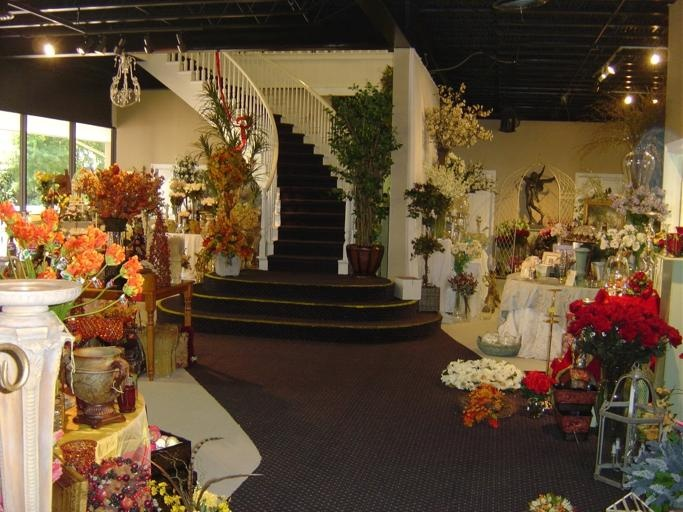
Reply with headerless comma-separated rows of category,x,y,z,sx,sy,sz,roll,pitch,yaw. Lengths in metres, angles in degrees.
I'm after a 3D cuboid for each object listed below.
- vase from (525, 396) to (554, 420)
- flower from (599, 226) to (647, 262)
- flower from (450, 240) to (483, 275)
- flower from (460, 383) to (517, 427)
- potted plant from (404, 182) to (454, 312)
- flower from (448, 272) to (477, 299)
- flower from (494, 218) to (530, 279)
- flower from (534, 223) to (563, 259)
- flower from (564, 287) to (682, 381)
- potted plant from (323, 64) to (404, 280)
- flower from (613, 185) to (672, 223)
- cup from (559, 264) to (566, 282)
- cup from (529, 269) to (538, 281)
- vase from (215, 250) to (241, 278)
vase,1.789,1.340,4.731,0.183,0.234,0.210,0,3,-2
flower,2.855,-0.159,5.239,0.214,0.310,0.639,-1,6,-18
flower,2.117,-0.050,8.824,0.482,0.656,0.575,8,18,12
flower,1.308,1.284,4.626,0.368,0.273,0.629,5,7,31
potted plant,1.426,-0.158,8.602,0.696,2.046,1.459,2,6,12
flower,1.961,0.435,8.439,0.369,0.408,0.381,2,5,34
flower,4.039,-0.120,12.480,0.798,1.494,2.366,3,6,20
flower,3.655,-0.242,9.244,0.330,0.753,3.448,3,6,19
flower,2.116,0.542,3.874,0.649,0.647,0.660,-4,10,-35
potted plant,0.367,-1.348,8.339,1.092,3.257,0.984,-1,6,-20
flower,2.959,-0.513,5.126,0.354,0.391,0.402,7,9,38
cup,2.803,0.211,6.638,0.076,0.320,0.073,6,-10,1
cup,2.475,0.229,6.729,0.097,0.131,0.080,4,7,31
vase,-1.716,0.088,7.840,0.372,0.347,0.326,-1,3,-21
